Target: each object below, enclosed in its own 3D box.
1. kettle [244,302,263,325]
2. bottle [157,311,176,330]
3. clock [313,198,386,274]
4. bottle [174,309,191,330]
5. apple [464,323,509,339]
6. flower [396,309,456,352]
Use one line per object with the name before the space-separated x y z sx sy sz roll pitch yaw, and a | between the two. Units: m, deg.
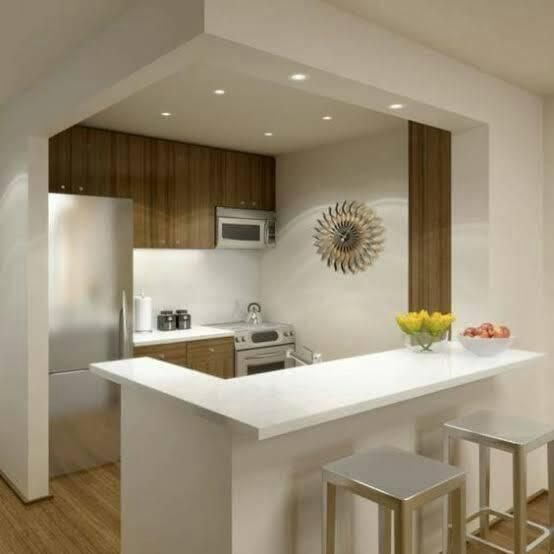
kettle | -0.210 0.370 5.339 0.178 0.212 0.185 2 -4 -30
bottle | -0.968 0.381 4.604 0.160 0.163 0.187 0 3 -10
clock | 0.598 -0.340 4.500 0.070 0.626 0.825 -2 4 -35
bottle | -0.839 0.390 4.698 0.153 0.163 0.112 -3 4 -43
apple | 1.062 0.280 2.667 0.121 0.059 0.120 0 -4 -42
flower | 0.780 0.266 2.752 0.230 0.178 0.239 0 -4 -12
